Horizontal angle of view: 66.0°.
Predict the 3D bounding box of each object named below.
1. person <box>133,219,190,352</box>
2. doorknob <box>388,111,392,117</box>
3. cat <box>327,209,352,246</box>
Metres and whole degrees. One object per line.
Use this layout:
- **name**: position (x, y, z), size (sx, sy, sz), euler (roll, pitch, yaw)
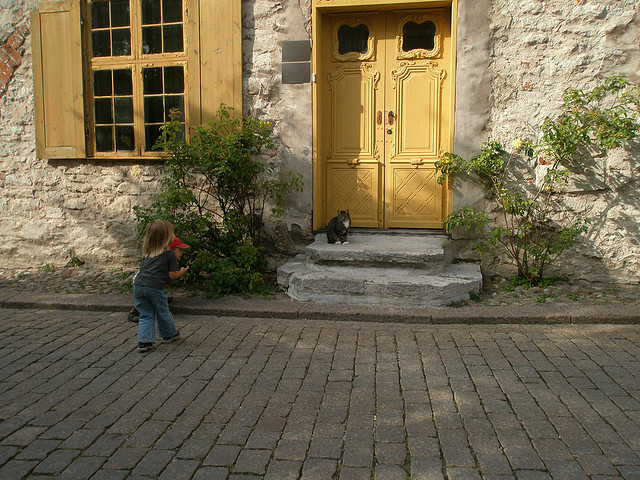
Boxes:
- **person**: position (-1.563, 0.429, 4.863), size (0.536, 1.193, 0.676), euler (-6, 16, -14)
- **doorknob**: position (0.989, -1.767, 6.962), size (0.031, 0.069, 0.030), euler (5, 10, 6)
- **cat**: position (0.278, -0.162, 6.584), size (0.290, 0.454, 0.506), euler (4, -4, -9)
